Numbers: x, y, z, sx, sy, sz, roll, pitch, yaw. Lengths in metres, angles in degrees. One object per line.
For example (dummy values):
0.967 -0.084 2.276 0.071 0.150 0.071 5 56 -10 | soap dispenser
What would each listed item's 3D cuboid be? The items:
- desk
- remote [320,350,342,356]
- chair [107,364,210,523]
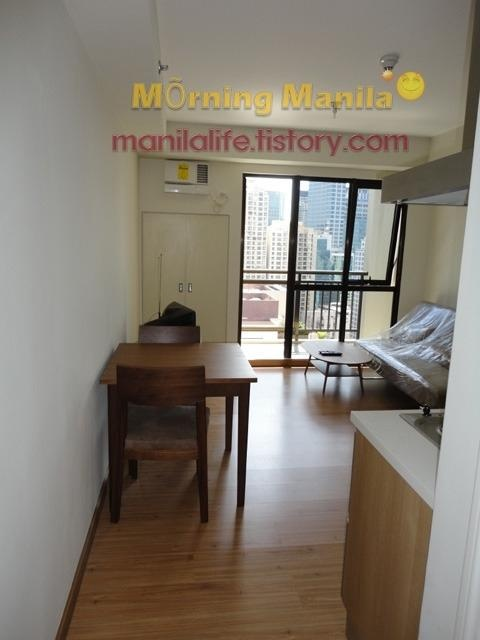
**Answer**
-0.345 0.454 2.701 0.716 0.904 0.844 1 10 -3 | desk
0.917 0.338 4.587 0.225 0.035 0.126 4 8 14 | remote
-0.412 0.582 2.345 0.494 0.854 0.627 1 7 -6 | chair
